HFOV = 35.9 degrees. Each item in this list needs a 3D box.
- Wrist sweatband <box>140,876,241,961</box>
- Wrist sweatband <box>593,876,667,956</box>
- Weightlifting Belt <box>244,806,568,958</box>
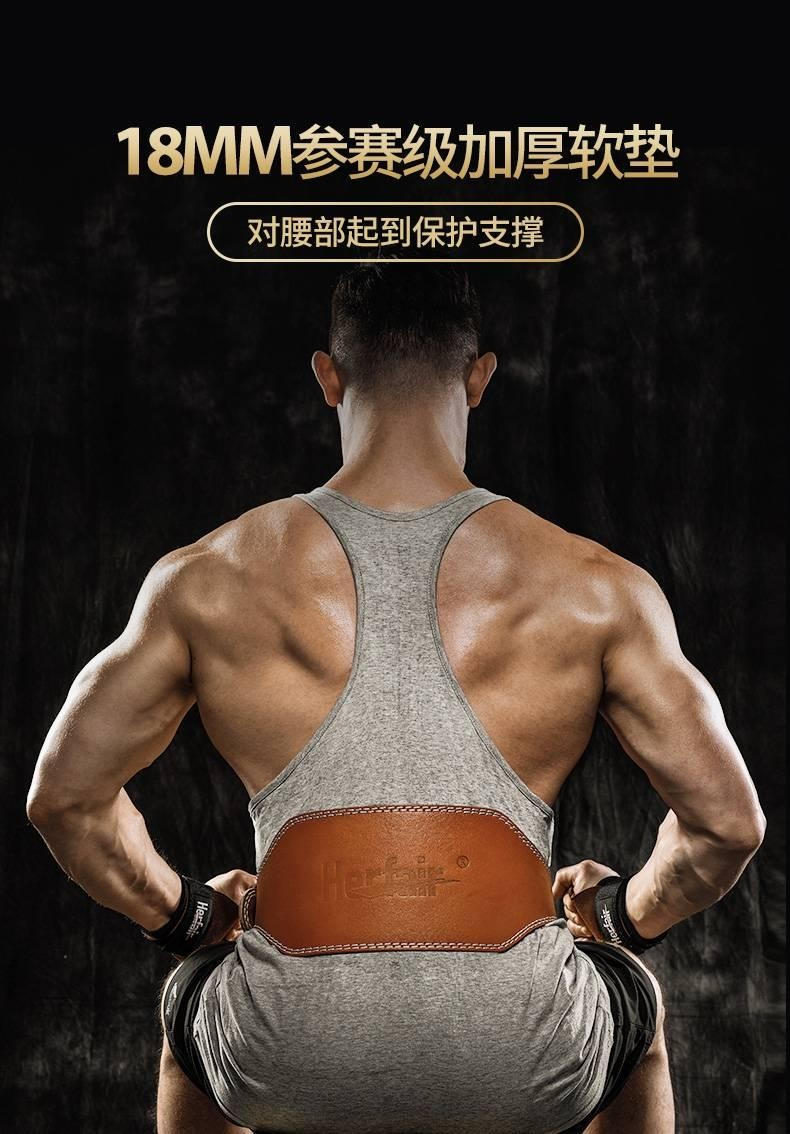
[{"bbox_3d":[-0.424,0.650,2.309,0.158,0.219,0.083,-35,107,-44],"label":"Wrist sweatband"},{"bbox_3d":[0.416,0.635,2.215,0.130,0.076,0.145,0,67,-16],"label":"Wrist sweatband"},{"bbox_3d":[0.011,0.459,1.776,0.435,0.145,0.200,-2,69,2],"label":"Weightlifting Belt"}]
